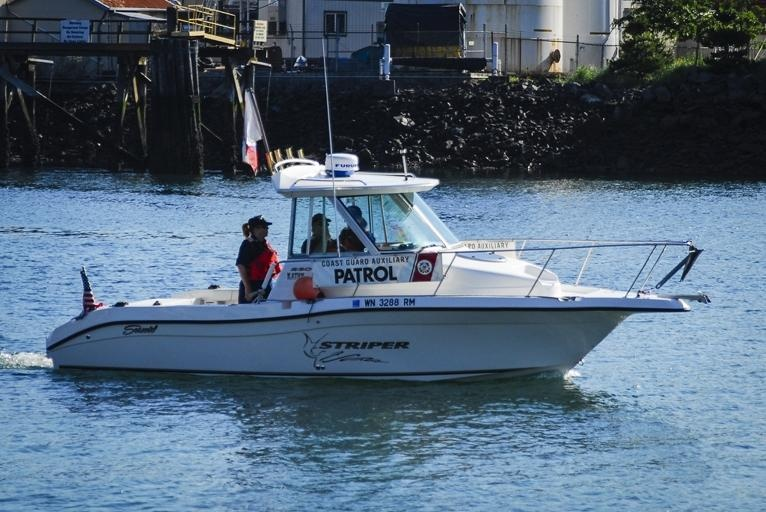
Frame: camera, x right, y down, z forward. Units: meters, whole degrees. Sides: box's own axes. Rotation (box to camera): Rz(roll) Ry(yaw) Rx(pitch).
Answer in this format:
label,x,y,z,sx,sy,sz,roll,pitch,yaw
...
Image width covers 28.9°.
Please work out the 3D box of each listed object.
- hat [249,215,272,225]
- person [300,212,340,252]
label,x,y,z,sx,sy,sz,roll,pitch,yaw
hat,-2.849,-0.807,33.926,0.595,0.175,0.324,0,3,-2
person,-1.421,-0.515,33.700,0.707,0.903,1.170,-1,3,35
